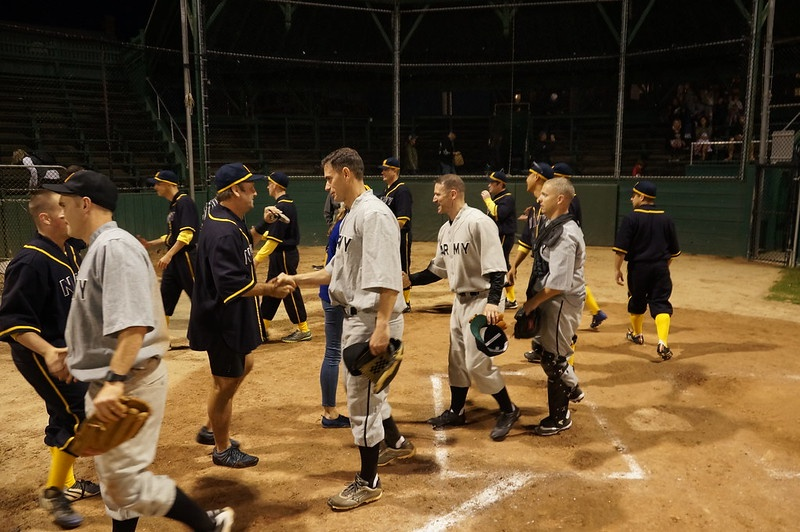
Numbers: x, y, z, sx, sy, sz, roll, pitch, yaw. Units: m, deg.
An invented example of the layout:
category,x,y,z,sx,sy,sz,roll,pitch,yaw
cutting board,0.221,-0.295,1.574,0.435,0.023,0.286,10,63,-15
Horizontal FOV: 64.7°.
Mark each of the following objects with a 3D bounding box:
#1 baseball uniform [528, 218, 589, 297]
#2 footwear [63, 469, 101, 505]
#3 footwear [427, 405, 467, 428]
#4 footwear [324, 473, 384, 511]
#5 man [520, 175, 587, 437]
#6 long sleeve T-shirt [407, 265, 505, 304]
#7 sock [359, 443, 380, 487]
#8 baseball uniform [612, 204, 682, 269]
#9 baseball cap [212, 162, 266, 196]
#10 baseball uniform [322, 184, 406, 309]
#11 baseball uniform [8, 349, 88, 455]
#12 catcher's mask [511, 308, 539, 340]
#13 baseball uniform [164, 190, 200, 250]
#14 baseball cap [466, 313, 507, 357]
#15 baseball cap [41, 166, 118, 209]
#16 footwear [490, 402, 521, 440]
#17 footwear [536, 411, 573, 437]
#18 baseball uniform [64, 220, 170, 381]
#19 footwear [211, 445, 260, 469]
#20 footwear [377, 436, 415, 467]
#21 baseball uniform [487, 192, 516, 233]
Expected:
category,x,y,z,sx,sy,sz,roll,pitch,yaw
baseball uniform,2.052,-0.144,8.530,0.828,1.321,1.543,3,6,17
footwear,-3.715,2.582,7.296,0.196,0.217,0.556,19,3,44
footwear,0.627,2.052,8.515,0.499,0.226,0.210,1,-4,-8
footwear,-0.487,2.516,7.160,0.743,0.343,0.263,-8,17,-25
man,1.992,0.527,8.464,0.937,3.264,1.097,-1,7,15
long sleeve T-shirt,0.623,0.193,8.543,1.403,0.557,0.618,2,21,-13
sock,-0.358,2.210,7.048,0.173,0.357,0.520,5,29,0
baseball uniform,4.103,-0.510,10.554,1.187,1.038,0.530,1,1,-5
baseball cap,-1.959,-1.102,7.632,0.561,0.285,0.339,-14,19,-17
baseball uniform,-0.421,-0.131,7.483,0.851,1.474,1.716,-3,3,-24
baseball uniform,-4.049,1.594,7.254,0.588,1.615,0.536,33,51,4
catcher's mask,1.630,0.731,8.146,0.365,0.437,0.166,-8,13,-28
baseball uniform,-3.772,-0.735,10.853,0.546,1.087,1.084,-2,0,-33
baseball cap,1.081,0.875,7.797,0.445,0.524,0.368,0,11,5
baseball cap,-3.163,-0.751,6.326,0.546,0.297,0.380,14,5,-18
footwear,1.329,2.081,8.303,0.249,0.315,0.711,-11,5,31
footwear,1.964,2.045,8.287,0.508,0.360,0.233,-2,11,0
baseball uniform,-3.043,0.364,6.890,1.218,1.951,2.202,-1,-2,-29
footwear,-2.005,2.319,7.616,0.490,0.207,0.253,4,1,-5
footwear,-0.077,2.245,7.670,0.577,0.270,0.206,-9,-2,-13
baseball uniform,1.921,-1.085,12.689,0.682,1.030,1.146,2,9,15
